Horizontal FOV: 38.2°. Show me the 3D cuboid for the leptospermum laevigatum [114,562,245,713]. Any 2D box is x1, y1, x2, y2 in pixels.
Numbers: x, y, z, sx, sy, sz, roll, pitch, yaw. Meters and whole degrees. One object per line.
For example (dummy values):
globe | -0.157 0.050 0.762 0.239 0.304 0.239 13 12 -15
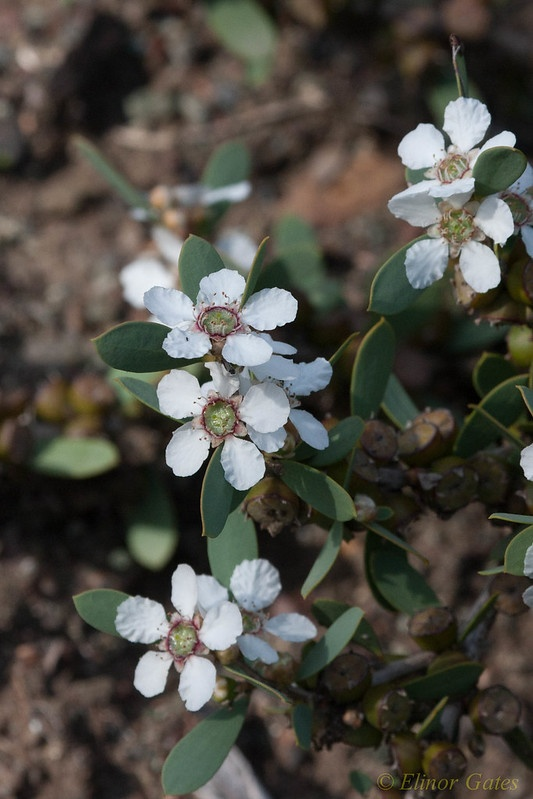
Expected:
leptospermum laevigatum | -0.136 0.392 1.243 0.202 0.159 0.203 -37 66 -13
